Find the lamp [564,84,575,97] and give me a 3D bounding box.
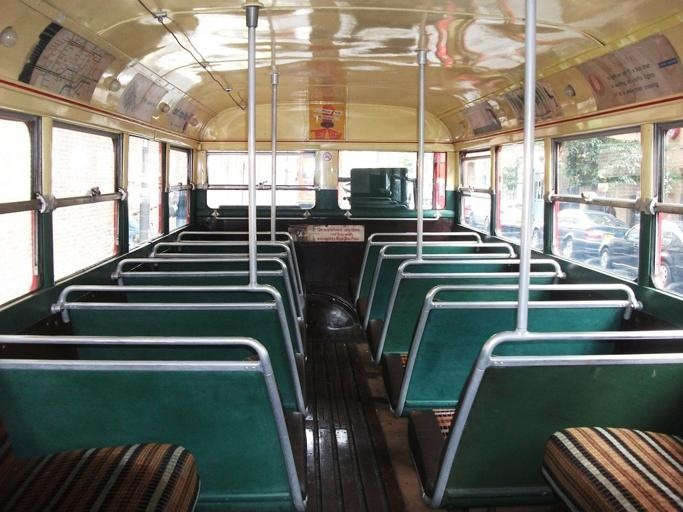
[{"bbox_3d":[2.259,-1.648,4.883,0.036,0.099,0.113,-30,-28,37],"label":"lamp"}]
